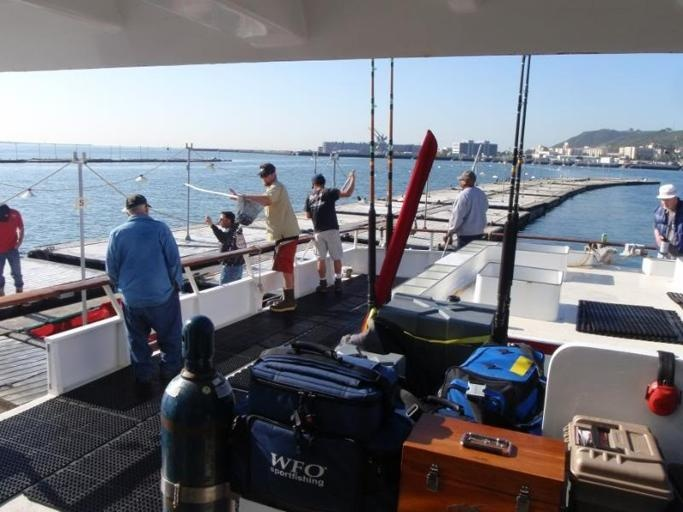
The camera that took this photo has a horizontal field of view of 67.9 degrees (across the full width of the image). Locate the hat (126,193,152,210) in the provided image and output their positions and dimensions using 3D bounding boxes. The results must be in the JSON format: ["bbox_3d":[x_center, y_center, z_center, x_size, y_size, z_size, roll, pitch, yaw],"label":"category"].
[{"bbox_3d":[-1.785,-0.481,4.458,0.142,0.113,0.198,4,24,7],"label":"hat"}]

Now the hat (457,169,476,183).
[{"bbox_3d":[1.765,-1.074,6.945,0.260,0.170,0.197,-4,17,-18],"label":"hat"}]

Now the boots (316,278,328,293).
[{"bbox_3d":[-0.278,0.433,7.341,0.110,0.213,0.221,-2,22,-9],"label":"boots"}]

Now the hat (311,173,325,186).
[{"bbox_3d":[-0.316,-1.063,6.973,0.136,0.115,0.187,1,33,-2],"label":"hat"}]

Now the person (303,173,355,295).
[{"bbox_3d":[-0.181,-0.330,7.247,0.655,1.672,0.421,-1,16,-7],"label":"person"}]

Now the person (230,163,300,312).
[{"bbox_3d":[-1.025,-0.224,6.546,0.976,1.873,0.984,-2,3,-5],"label":"person"}]

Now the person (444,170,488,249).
[{"bbox_3d":[1.770,-0.633,7.186,0.583,1.151,0.794,5,17,13],"label":"person"}]

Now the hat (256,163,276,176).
[{"bbox_3d":[-0.931,-1.083,6.359,0.153,0.138,0.222,3,9,13],"label":"hat"}]

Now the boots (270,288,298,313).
[{"bbox_3d":[-0.711,0.581,6.428,0.386,0.345,0.191,3,7,-8],"label":"boots"}]
